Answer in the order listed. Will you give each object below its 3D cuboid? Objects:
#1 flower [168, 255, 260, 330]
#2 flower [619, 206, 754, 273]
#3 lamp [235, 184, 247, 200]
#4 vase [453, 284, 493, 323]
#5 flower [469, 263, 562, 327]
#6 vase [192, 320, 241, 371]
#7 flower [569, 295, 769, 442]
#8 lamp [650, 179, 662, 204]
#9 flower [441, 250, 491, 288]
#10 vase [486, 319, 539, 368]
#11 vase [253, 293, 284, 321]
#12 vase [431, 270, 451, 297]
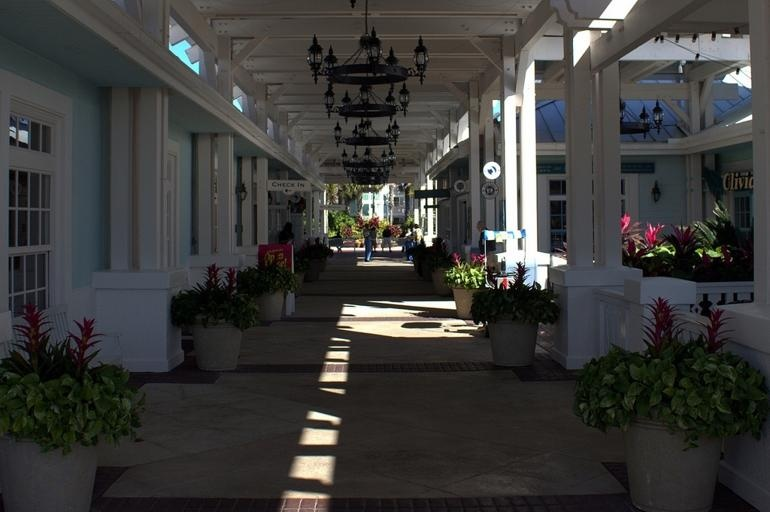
[{"bbox_3d":[-2.236,0.535,7.265,1.151,0.819,0.497,0,3,0],"label":"flower"},{"bbox_3d":[3.946,-0.202,7.183,1.115,0.958,2.021,0,4,-3],"label":"flower"},{"bbox_3d":[-3.570,-1.607,13.829,0.248,0.431,1.289,-1,4,-14],"label":"lamp"},{"bbox_3d":[1.623,0.820,10.337,0.737,0.617,0.757,1,-3,1],"label":"vase"},{"bbox_3d":[1.642,0.490,7.300,0.768,0.562,0.768,2,-3,-25],"label":"flower"},{"bbox_3d":[-2.129,1.163,7.217,0.593,0.465,0.572,0,-4,-2],"label":"vase"},{"bbox_3d":[2.044,0.642,3.826,1.024,0.760,1.044,4,4,41],"label":"flower"},{"bbox_3d":[7.980,-1.903,16.244,0.295,0.639,0.087,-1,2,-7],"label":"lamp"},{"bbox_3d":[1.637,0.255,10.431,0.650,0.492,0.690,1,-1,-40],"label":"flower"},{"bbox_3d":[1.649,1.094,7.253,0.596,0.460,0.598,1,-2,-23],"label":"vase"},{"bbox_3d":[-2.158,0.975,10.898,0.719,0.582,0.709,0,0,6],"label":"vase"},{"bbox_3d":[1.469,0.710,14.403,0.660,0.571,0.673,1,-4,-5],"label":"vase"}]
